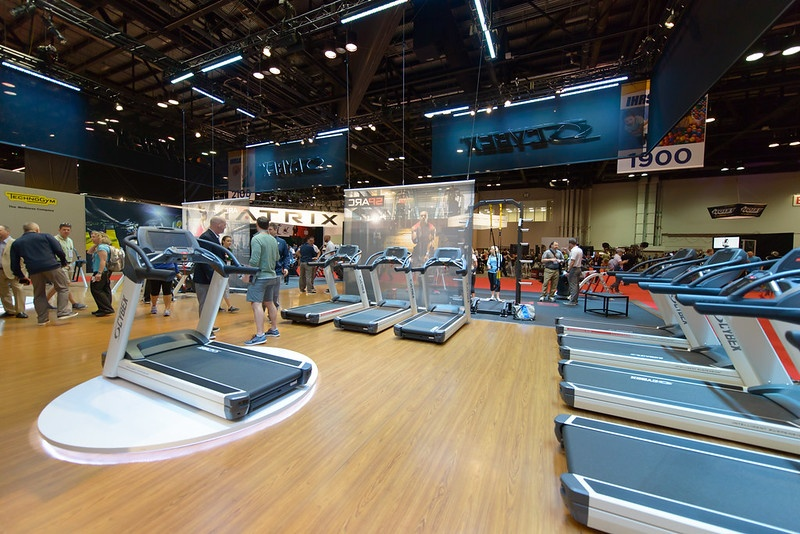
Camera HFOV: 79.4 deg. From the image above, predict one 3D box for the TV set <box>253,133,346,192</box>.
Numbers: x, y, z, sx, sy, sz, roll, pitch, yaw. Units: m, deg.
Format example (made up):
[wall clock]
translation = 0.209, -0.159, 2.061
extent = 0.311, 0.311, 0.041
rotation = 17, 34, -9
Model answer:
[TV set]
translation = -2.894, -3.063, 13.974
extent = 2.329, 1.064, 0.039
rotation = -1, -1, 23
